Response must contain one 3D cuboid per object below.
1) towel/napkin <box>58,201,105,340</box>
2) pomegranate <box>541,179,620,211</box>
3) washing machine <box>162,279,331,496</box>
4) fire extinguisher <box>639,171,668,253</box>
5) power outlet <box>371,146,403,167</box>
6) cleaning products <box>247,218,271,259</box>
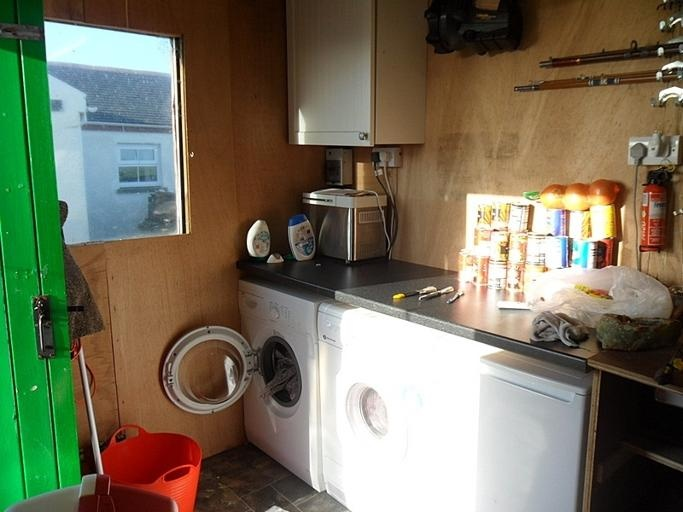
[{"bbox_3d":[-1.224,0.061,2.495,0.140,0.635,0.388,-6,10,-26],"label":"towel/napkin"},{"bbox_3d":[1.075,-0.274,2.401,0.337,0.140,0.097,7,12,43],"label":"pomegranate"},{"bbox_3d":[-0.478,0.690,2.983,0.895,1.060,0.388,1,9,14],"label":"washing machine"},{"bbox_3d":[1.304,-0.190,2.217,0.104,0.335,0.077,4,10,31],"label":"fire extinguisher"},{"bbox_3d":[0.259,-0.586,3.127,0.107,0.122,0.176,-9,16,-36],"label":"power outlet"},{"bbox_3d":[-0.488,-0.097,3.121,0.121,0.238,0.150,8,12,38],"label":"cleaning products"}]
